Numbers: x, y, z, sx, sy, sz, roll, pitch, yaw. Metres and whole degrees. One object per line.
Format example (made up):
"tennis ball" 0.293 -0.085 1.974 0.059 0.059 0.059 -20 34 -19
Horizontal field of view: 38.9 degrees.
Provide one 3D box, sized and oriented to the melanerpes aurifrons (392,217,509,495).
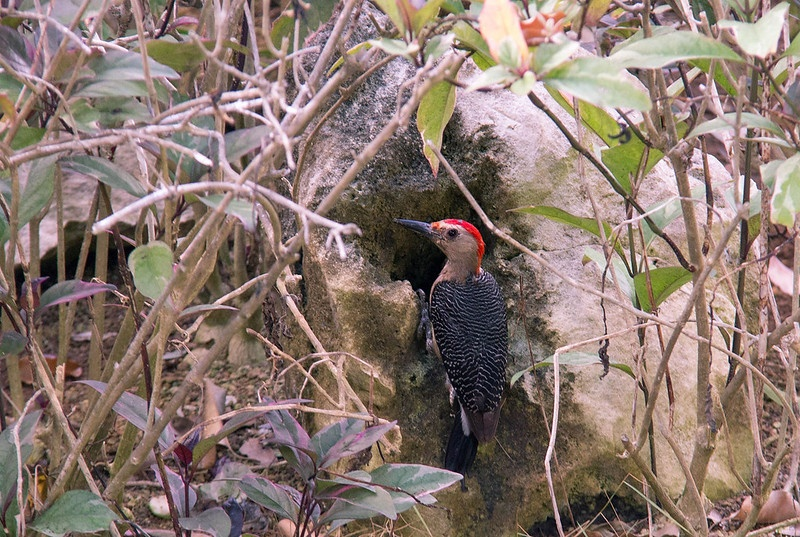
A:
"melanerpes aurifrons" 0.298 0.364 6.064 0.487 0.452 1.539 22 57 -37
